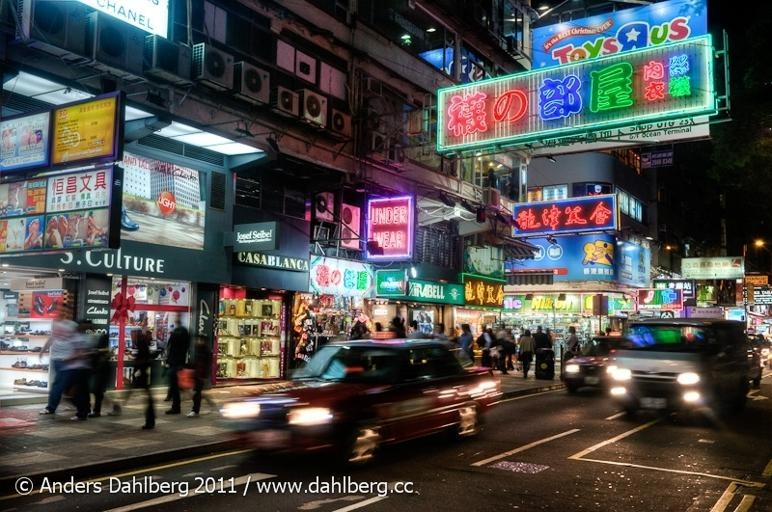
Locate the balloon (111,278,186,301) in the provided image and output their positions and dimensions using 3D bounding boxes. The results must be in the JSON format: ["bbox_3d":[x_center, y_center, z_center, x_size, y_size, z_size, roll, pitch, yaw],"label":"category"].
[{"bbox_3d":[-6.729,1.009,21.226,0.306,0.806,1.916,3,3,37],"label":"balloon"}]

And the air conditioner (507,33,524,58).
[{"bbox_3d":[6.313,-10.556,34.930,0.585,1.041,1.339,2,2,23],"label":"air conditioner"}]

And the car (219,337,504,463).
[{"bbox_3d":[-0.374,2.854,14.565,5.238,2.134,1.714,0,2,-36],"label":"car"}]

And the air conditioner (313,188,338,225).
[{"bbox_3d":[-2.233,-1.862,26.147,0.320,1.136,1.330,3,2,28],"label":"air conditioner"}]

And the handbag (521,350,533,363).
[{"bbox_3d":[5.460,3.948,28.071,0.524,0.544,0.497,0,2,-8],"label":"handbag"}]

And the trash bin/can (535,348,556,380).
[{"bbox_3d":[5.857,4.005,26.496,0.650,1.134,0.405,2,2,17],"label":"trash bin/can"}]

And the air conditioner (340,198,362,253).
[{"bbox_3d":[-1.348,-1.170,27.248,0.752,1.779,1.503,2,2,0],"label":"air conditioner"}]

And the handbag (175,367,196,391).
[{"bbox_3d":[-4.743,2.916,17.048,0.487,0.493,0.485,1,2,-26],"label":"handbag"}]

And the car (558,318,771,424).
[{"bbox_3d":[7.756,2.972,18.639,3.847,2.574,2.168,0,2,-31],"label":"car"}]

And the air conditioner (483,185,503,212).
[{"bbox_3d":[4.994,-2.781,33.790,0.792,1.199,1.575,-2,-6,38],"label":"air conditioner"}]
